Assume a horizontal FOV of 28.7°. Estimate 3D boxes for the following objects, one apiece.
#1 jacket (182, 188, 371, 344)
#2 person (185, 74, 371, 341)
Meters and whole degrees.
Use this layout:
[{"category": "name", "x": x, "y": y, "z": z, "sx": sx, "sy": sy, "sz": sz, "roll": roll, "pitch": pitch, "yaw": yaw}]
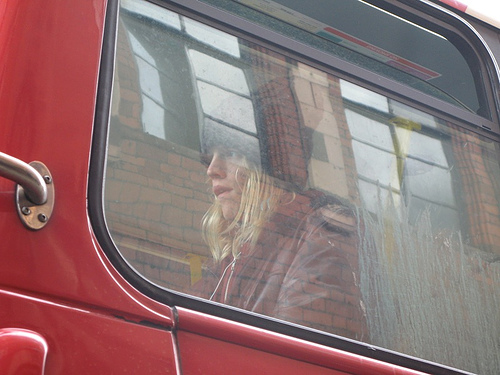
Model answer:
[{"category": "jacket", "x": 0.059, "y": 0.275, "z": 3.243, "sx": 0.455, "sy": 0.328, "sz": 0.245, "roll": 13, "pitch": -17, "yaw": 15}, {"category": "person", "x": 0.077, "y": 0.001, "z": 3.428, "sx": 0.595, "sy": 0.995, "sz": 0.647, "roll": -12, "pitch": 25, "yaw": -40}]
